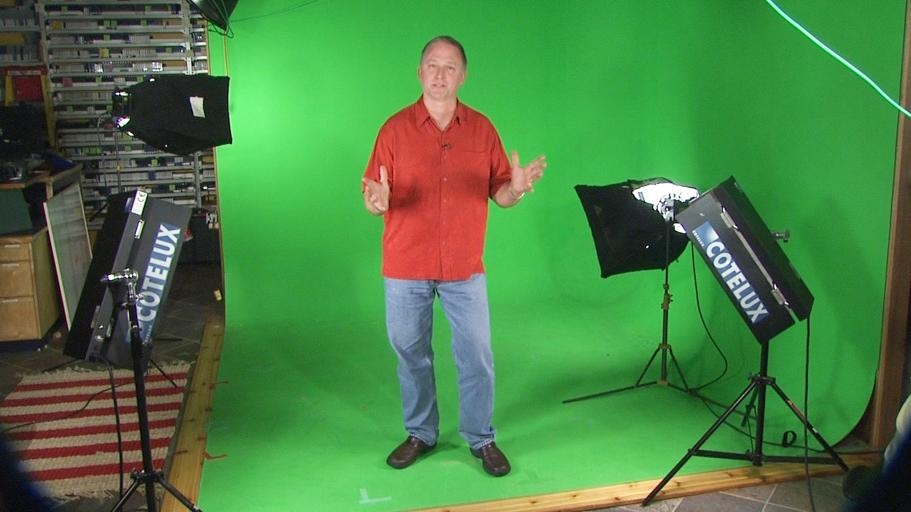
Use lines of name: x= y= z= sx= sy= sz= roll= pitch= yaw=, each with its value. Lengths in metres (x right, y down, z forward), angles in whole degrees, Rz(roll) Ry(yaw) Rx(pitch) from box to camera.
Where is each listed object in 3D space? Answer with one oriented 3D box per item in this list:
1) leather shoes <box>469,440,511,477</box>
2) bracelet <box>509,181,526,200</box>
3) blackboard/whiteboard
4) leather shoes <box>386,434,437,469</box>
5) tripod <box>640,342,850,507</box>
leather shoes: x=0.238 y=1.398 z=5.209 sx=0.161 sy=0.114 sz=0.302 roll=-14 pitch=23 yaw=-34
bracelet: x=0.414 y=-0.453 z=4.962 sx=0.103 sy=0.036 sz=0.132 roll=13 pitch=-24 yaw=-3
blackboard/whiteboard: x=-3.700 y=-0.031 z=7.010 sx=0.341 sy=1.305 sz=0.914 roll=0 pitch=7 yaw=-23
leather shoes: x=-0.324 y=1.365 z=5.287 sx=0.424 sy=0.158 sz=0.152 roll=-18 pitch=28 yaw=-37
tripod: x=2.007 y=1.206 z=5.507 sx=1.358 sy=1.024 sz=1.179 roll=3 pitch=13 yaw=-4
